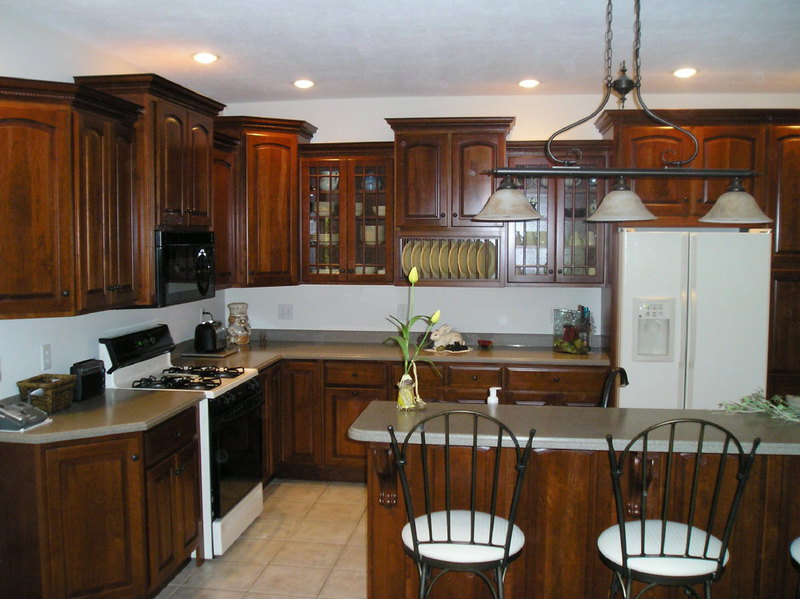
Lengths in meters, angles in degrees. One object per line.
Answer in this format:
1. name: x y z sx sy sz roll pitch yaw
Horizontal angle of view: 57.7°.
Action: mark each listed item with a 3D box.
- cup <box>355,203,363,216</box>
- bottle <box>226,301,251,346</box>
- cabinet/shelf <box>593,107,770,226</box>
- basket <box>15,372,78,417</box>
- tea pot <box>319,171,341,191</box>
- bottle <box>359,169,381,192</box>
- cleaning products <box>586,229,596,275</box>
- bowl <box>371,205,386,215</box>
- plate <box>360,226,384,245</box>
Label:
1. cup: -0.332 -0.717 5.828 0.083 0.089 0.081 1 -2 0
2. bottle: -1.343 0.203 6.040 0.192 0.356 0.430 -1 12 -11
3. cabinet/shelf: 1.894 -0.876 4.775 1.059 0.754 0.377 1 0 8
4. basket: -1.978 0.527 4.092 0.247 0.166 0.205 6 8 20
5. tea pot: -0.574 -0.949 5.864 0.178 0.167 0.133 2 3 5
6. bottle: -0.238 -0.945 5.815 0.172 0.163 0.094 -1 11 0
7. cleaning products: 1.474 -0.351 5.601 0.075 0.341 0.087 2 12 3
8. bowl: -0.169 -0.704 5.807 0.073 0.049 0.074 1 4 0
9. plate: -0.234 -0.511 5.819 0.159 0.114 0.158 2 6 9
